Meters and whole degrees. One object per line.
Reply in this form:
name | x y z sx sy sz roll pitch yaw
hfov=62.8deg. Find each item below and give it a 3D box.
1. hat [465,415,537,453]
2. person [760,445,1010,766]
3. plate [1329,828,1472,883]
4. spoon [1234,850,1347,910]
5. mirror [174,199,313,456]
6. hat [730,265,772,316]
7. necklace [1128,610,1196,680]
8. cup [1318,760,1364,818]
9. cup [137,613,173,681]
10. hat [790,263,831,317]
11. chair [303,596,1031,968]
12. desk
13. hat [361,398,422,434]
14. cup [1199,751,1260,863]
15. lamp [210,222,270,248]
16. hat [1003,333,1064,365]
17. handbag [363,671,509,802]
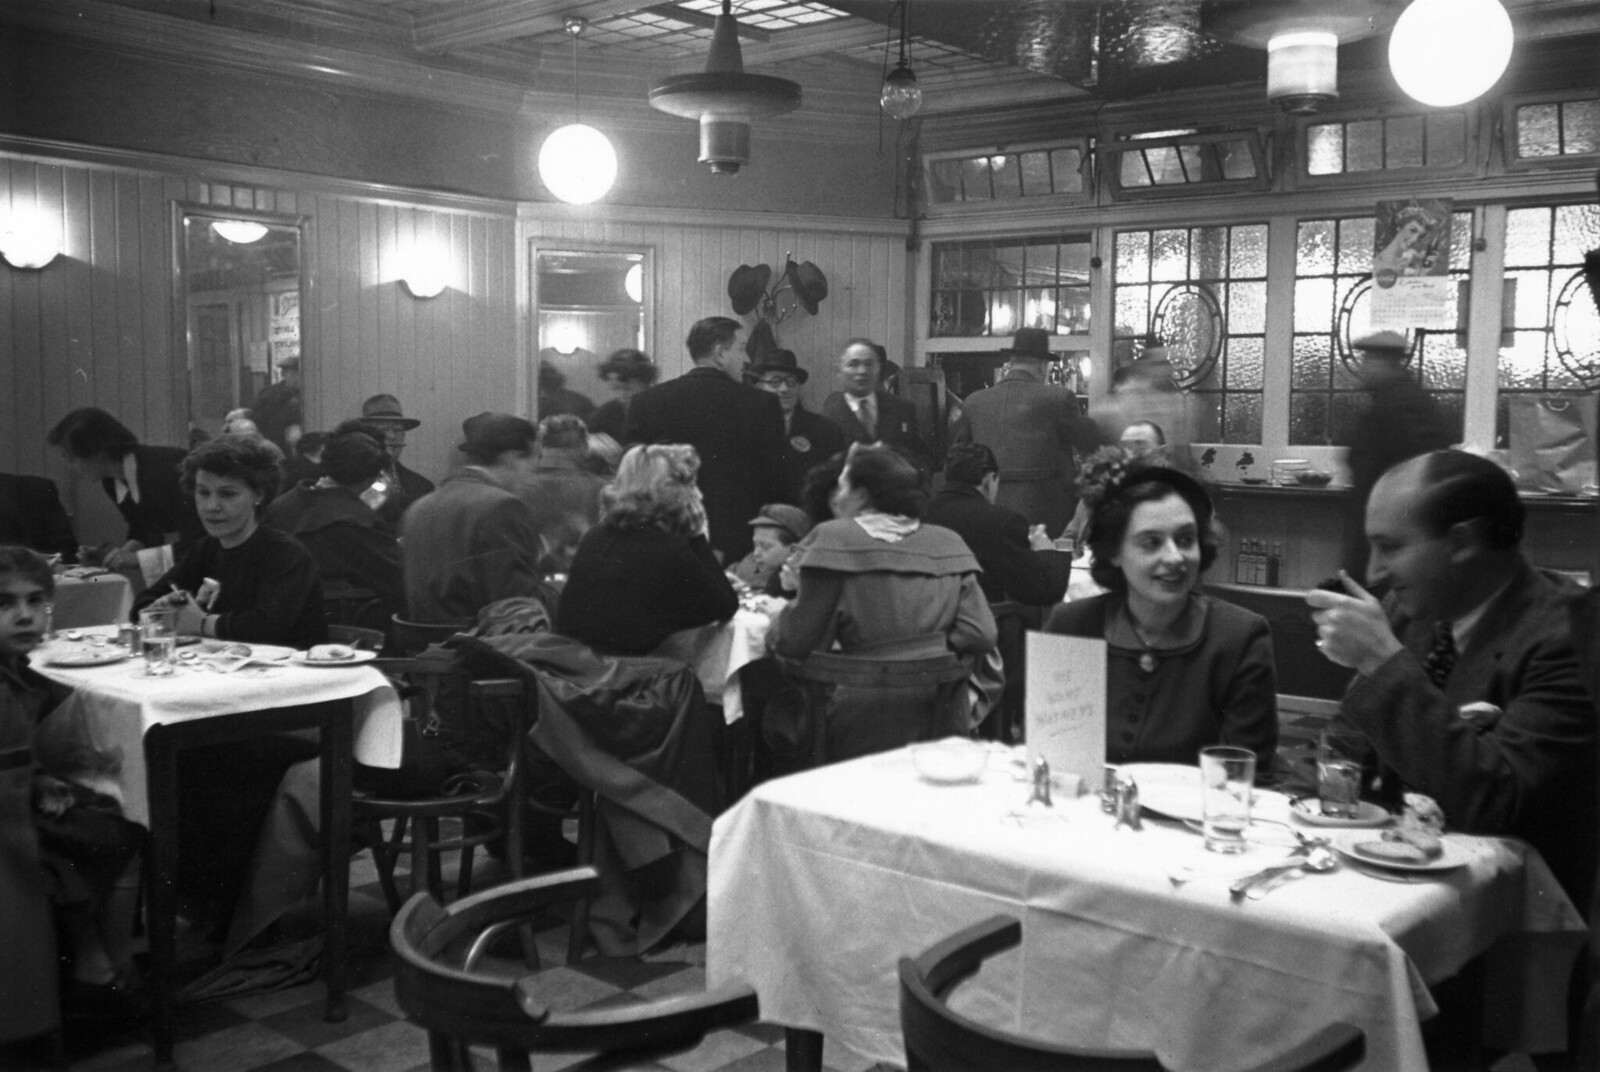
hat | -1.354 -0.442 5.959 0.243 0.108 0.288 1 3 -7
person | 0.317 0.250 4.691 0.786 1.089 0.412 -1 9 8
plate | 1.294 0.681 2.833 0.271 0.055 0.191 0 8 11
spoon | 1.015 0.673 2.724 0.091 0.048 0.469 9 13 37
mirror | -3.446 -1.187 7.949 0.057 1.175 0.648 8 11 26
hat | -0.340 -1.755 9.494 0.175 0.370 0.335 7 12 45
necklace | 0.968 0.284 3.491 0.168 0.181 0.071 4 -8 20
cup | 1.236 0.584 3.055 0.109 0.118 0.110 1 4 0
cup | -2.148 0.392 4.382 0.131 0.175 0.117 -3 -5 -22
hat | 0.055 -1.793 9.573 0.135 0.308 0.381 -15 -22 27
chair | -0.860 0.694 4.984 1.403 1.065 1.565 16 21 36
desk | -1.911 1.036 4.519 1.048 1.086 1.734 -4 7 -42
hat | -2.584 -0.740 8.221 0.317 0.126 0.347 2 -3 -40
cup | 0.947 0.577 2.899 0.107 0.201 0.213 1 8 17
lamp | -3.407 -1.822 7.983 0.181 0.054 0.176 -2 -2 22
hat | 1.371 -1.127 7.953 0.262 0.228 0.224 3 9 12
handbag | -1.286 0.686 4.705 0.538 0.429 0.407 -3 1 -15
